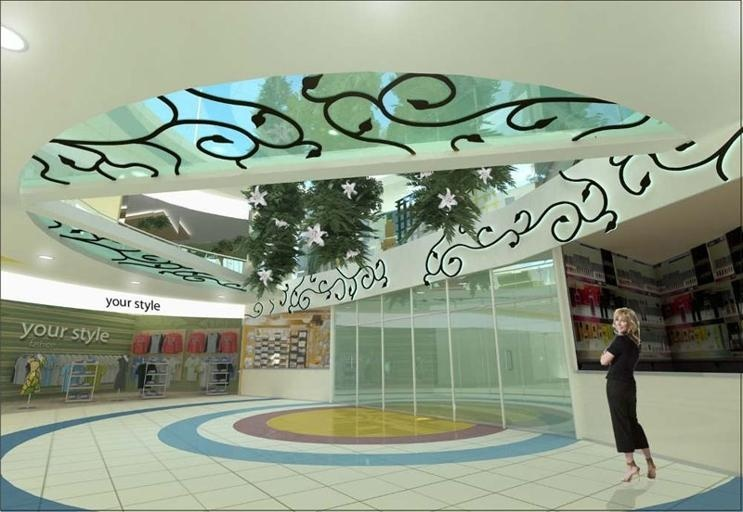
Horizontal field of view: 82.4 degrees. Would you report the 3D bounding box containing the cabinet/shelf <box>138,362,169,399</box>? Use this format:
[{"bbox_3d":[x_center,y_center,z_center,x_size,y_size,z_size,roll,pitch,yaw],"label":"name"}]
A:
[{"bbox_3d":[-7.291,4.241,14.653,0.892,1.117,1.740,5,-13,-22],"label":"cabinet/shelf"}]

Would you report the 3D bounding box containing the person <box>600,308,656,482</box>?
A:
[{"bbox_3d":[3.072,1.673,5.167,0.553,2.031,0.289,4,-14,-19],"label":"person"}]

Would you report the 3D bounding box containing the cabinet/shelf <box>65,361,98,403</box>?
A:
[{"bbox_3d":[-8.780,3.904,13.185,0.753,1.162,0.431,7,-23,-29],"label":"cabinet/shelf"}]

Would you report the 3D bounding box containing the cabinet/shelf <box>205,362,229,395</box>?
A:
[{"bbox_3d":[-5.364,4.408,15.414,0.810,1.098,0.745,4,-14,-19],"label":"cabinet/shelf"}]
